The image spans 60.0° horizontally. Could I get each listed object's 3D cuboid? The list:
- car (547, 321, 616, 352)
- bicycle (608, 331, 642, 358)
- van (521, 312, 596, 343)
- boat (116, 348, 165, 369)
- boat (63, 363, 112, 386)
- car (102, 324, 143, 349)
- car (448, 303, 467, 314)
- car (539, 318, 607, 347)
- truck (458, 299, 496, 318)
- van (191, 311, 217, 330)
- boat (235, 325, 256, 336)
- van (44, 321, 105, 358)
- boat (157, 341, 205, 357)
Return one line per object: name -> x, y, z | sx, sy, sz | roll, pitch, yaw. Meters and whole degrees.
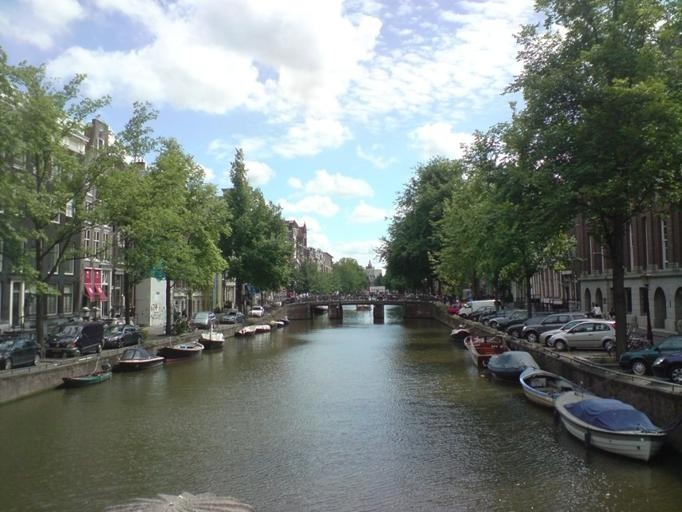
car -> 13.850, 4.556, 34.077 | 3.019, 1.359, 1.709 | 1, -5, 9
bicycle -> 14.056, 4.427, 29.526 | 2.202, 1.039, 1.380 | -3, -8, 0
van -> 13.577, 4.641, 38.326 | 3.837, 1.683, 1.881 | -1, -6, 5
boat -> -12.189, 6.184, 35.743 | 1.175, 1.439, 3.237 | 1, 2, 25
boat -> -13.461, 6.224, 31.154 | 0.909, 0.776, 3.219 | 0, -7, 11
car -> -14.238, 5.198, 38.479 | 1.291, 1.287, 3.248 | 0, 1, 6
car -> 13.387, 6.014, 68.738 | 1.575, 0.725, 1.081 | 6, -9, -38
car -> 13.917, 4.429, 34.103 | 2.726, 1.225, 1.543 | 1, -5, 8
truck -> 13.801, 5.365, 60.053 | 2.926, 1.657, 1.673 | 0, -2, 26
van -> -12.798, 6.025, 55.397 | 1.305, 0.991, 2.907 | -1, -11, -4
boat -> -9.750, 7.638, 60.480 | 1.041, 0.902, 3.047 | 0, 1, 17
van -> -15.418, 4.830, 34.780 | 1.587, 1.530, 2.983 | -1, -8, 3
boat -> -11.269, 6.616, 41.243 | 1.351, 0.895, 3.087 | 1, 2, 37
